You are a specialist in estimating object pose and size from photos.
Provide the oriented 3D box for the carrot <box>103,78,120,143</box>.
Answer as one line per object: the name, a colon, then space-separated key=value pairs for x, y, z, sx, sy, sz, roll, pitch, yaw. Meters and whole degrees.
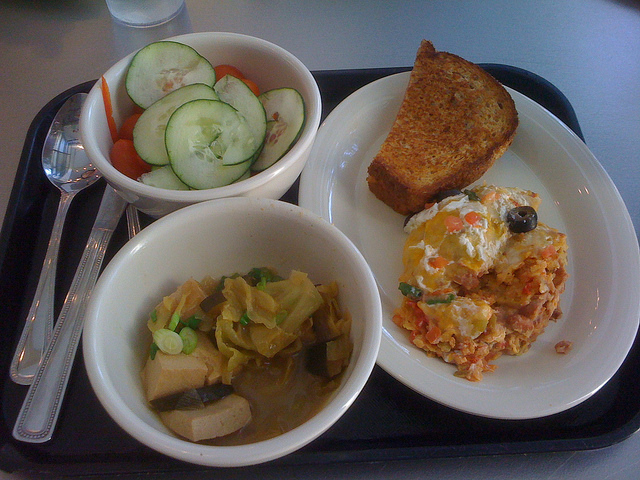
carrot: x=-0.891 y=-0.552 z=2.348 sx=0.041 sy=0.019 sz=0.270 roll=0 pitch=81 yaw=-36

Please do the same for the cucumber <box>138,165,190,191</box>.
cucumber: x=-0.628 y=-0.243 z=2.204 sx=0.146 sy=0.055 sz=0.124 roll=-16 pitch=49 yaw=-4

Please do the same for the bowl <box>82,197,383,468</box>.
bowl: x=-0.291 y=0.302 z=2.002 sx=1.004 sy=0.336 sz=0.920 roll=0 pitch=75 yaw=-2

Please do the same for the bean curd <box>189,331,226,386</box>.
bean curd: x=-0.402 y=0.429 z=1.973 sx=0.125 sy=0.138 sz=0.296 roll=1 pitch=35 yaw=-5

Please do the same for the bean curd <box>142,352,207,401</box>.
bean curd: x=-0.501 y=0.474 z=1.920 sx=0.196 sy=0.141 sz=0.160 roll=-12 pitch=28 yaw=-24

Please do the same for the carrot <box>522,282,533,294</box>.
carrot: x=0.891 y=0.207 z=2.374 sx=0.026 sy=0.014 sz=0.053 roll=40 pitch=99 yaw=40

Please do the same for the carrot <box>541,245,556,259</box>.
carrot: x=0.962 y=0.046 z=2.329 sx=0.060 sy=0.014 sz=0.035 roll=-44 pitch=84 yaw=0

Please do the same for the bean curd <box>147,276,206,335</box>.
bean curd: x=-0.508 y=0.229 z=2.064 sx=0.233 sy=0.071 sz=0.122 roll=-41 pitch=56 yaw=-12

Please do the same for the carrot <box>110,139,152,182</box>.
carrot: x=-0.789 y=-0.332 z=2.283 sx=0.120 sy=0.157 sz=0.188 roll=15 pitch=34 yaw=23
